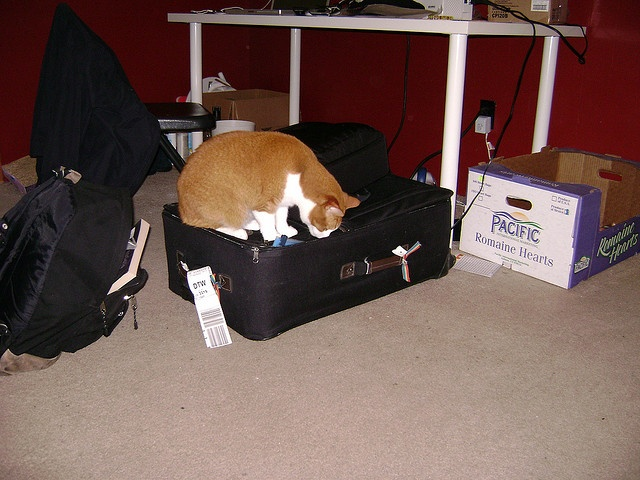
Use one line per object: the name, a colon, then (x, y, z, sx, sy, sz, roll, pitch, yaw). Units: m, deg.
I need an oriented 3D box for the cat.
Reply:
cat: (-0.172, -0.174, 2.000, 0.534, 0.323, 0.306, 11, 29, -11)

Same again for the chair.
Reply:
chair: (-0.579, -0.437, 2.544, 0.282, 0.206, 0.424, -5, 42, -14)

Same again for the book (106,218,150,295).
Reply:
book: (-0.594, 0.043, 1.903, 0.047, 0.196, 0.206, 20, 14, -7)

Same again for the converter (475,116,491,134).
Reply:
converter: (0.790, -0.556, 2.912, 0.070, 0.099, 0.097, 0, 9, -8)

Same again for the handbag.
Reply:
handbag: (0.069, -0.352, 2.227, 0.286, 0.186, 0.379, 28, 40, 31)
